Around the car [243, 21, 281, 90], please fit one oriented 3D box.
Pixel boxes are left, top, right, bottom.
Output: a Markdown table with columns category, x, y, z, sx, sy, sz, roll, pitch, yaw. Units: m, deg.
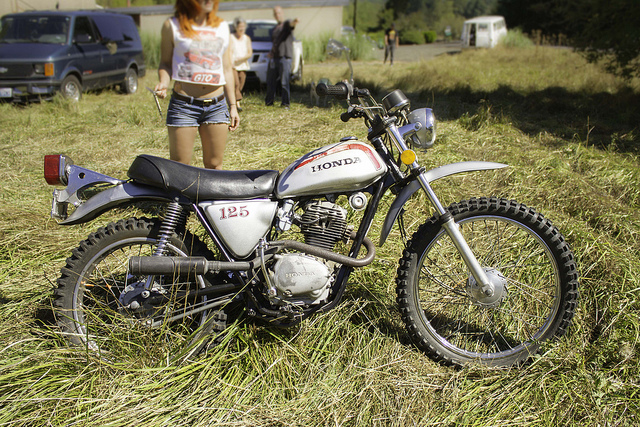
| category | x | y | z | sx | sy | sz | roll | pitch | yaw |
| --- | --- | --- | --- | --- | --- | --- | --- | --- | --- |
| car | -1.420 | -3.560 | 13.757 | 1.000 | 1.033 | 1.843 | 3 | 13 | 6 |

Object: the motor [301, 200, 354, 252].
| category | x | y | z | sx | sy | sz | roll | pitch | yaw |
| --- | --- | --- | --- | --- | --- | --- | --- | --- | --- |
| motor | 0.058 | 0.100 | 5.486 | 0.410 | 0.442 | 0.213 | 4 | -6 | -5 |

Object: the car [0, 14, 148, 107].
| category | x | y | z | sx | sy | sz | roll | pitch | yaw |
| --- | --- | --- | --- | --- | --- | --- | --- | --- | --- |
| car | -4.895 | -3.040 | 12.327 | 1.414 | 1.198 | 2.880 | 2 | 15 | 13 |

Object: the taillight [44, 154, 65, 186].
| category | x | y | z | sx | sy | sz | roll | pitch | yaw |
| --- | --- | --- | --- | --- | --- | --- | --- | --- | --- |
| taillight | -2.329 | -0.386 | 5.478 | 0.144 | 0.247 | 0.250 | -10 | 32 | -22 |
